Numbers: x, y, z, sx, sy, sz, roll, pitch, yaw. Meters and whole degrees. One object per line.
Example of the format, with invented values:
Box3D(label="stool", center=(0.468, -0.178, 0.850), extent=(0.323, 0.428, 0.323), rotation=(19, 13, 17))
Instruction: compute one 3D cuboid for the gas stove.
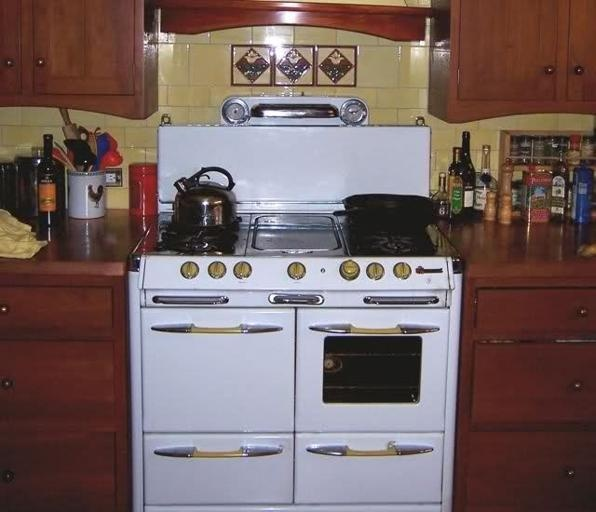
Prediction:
Box3D(label="gas stove", center=(-0.016, -0.099, 2.684), extent=(1.140, 0.107, 0.630), rotation=(0, 10, -1))

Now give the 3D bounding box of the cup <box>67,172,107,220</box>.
Box3D(label="cup", center=(-0.847, -0.247, 2.955), extent=(0.148, 0.192, 0.129), rotation=(-3, 10, -17))

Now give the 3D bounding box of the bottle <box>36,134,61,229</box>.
Box3D(label="bottle", center=(-0.968, -0.295, 2.850), extent=(0.081, 0.351, 0.265), rotation=(-3, 10, -18))

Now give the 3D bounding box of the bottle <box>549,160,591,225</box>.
Box3D(label="bottle", center=(1.105, -0.264, 2.958), extent=(0.156, 0.250, 0.160), rotation=(0, 9, 0))

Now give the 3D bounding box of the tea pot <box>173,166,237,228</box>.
Box3D(label="tea pot", center=(-0.332, -0.225, 2.734), extent=(0.230, 0.212, 0.340), rotation=(1, 10, 6))

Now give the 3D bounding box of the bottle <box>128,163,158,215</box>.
Box3D(label="bottle", center=(-0.641, -0.277, 3.051), extent=(0.112, 0.216, 0.107), rotation=(0, 9, 0))
